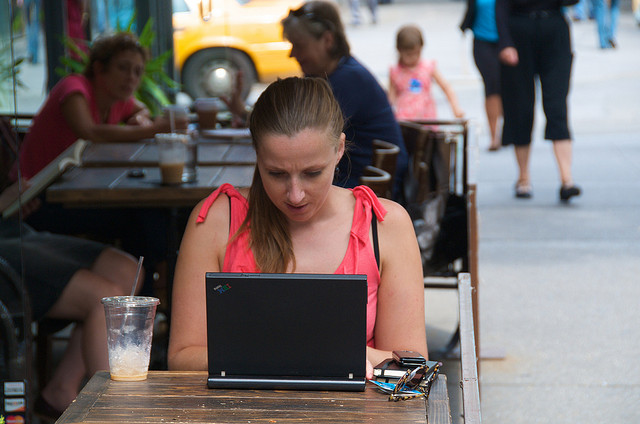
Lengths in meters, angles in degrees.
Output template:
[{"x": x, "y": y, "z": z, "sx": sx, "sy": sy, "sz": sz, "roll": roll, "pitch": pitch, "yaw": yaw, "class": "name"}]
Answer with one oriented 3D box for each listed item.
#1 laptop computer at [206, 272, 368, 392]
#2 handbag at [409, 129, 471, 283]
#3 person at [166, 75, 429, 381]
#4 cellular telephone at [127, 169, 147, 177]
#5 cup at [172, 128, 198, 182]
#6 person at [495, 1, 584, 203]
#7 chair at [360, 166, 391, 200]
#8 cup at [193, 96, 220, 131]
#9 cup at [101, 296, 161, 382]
[{"x": -0.088, "y": 0.405, "z": 2.696, "sx": 0.471, "sy": 0.387, "sz": 0.390, "roll": 1, "pitch": 10, "yaw": 1, "class": "laptop computer"}, {"x": 0.736, "y": -0.048, "z": 4.378, "sx": 0.476, "sy": 0.880, "sz": 0.662, "roll": -1, "pitch": 11, "yaw": 10, "class": "handbag"}, {"x": -0.081, "y": 0.092, "z": 2.999, "sx": 0.960, "sy": 1.266, "sz": 0.743, "roll": 3, "pitch": 16, "yaw": 4, "class": "person"}, {"x": -0.979, "y": -0.209, "z": 4.035, "sx": 0.102, "sy": 0.042, "sz": 0.122, "roll": -3, "pitch": 2, "yaw": -15, "class": "cellular telephone"}, {"x": -0.720, "y": -0.299, "z": 4.031, "sx": 0.158, "sy": 0.293, "sz": 0.167, "roll": -6, "pitch": -2, "yaw": 0, "class": "cup"}, {"x": 1.228, "y": -0.692, "z": 4.192, "sx": 0.462, "sy": 0.964, "sz": 0.349, "roll": -2, "pitch": 2, "yaw": 15, "class": "person"}, {"x": 0.307, "y": -0.163, "z": 4.124, "sx": 0.156, "sy": 0.249, "sz": 0.198, "roll": 2, "pitch": 9, "yaw": 3, "class": "chair"}, {"x": -0.763, "y": -0.703, "z": 5.365, "sx": 0.188, "sy": 0.279, "sz": 0.210, "roll": 2, "pitch": 8, "yaw": 14, "class": "cup"}, {"x": -0.652, "y": 0.453, "z": 2.727, "sx": 0.232, "sy": 0.330, "sz": 0.251, "roll": 1, "pitch": -4, "yaw": 0, "class": "cup"}]
